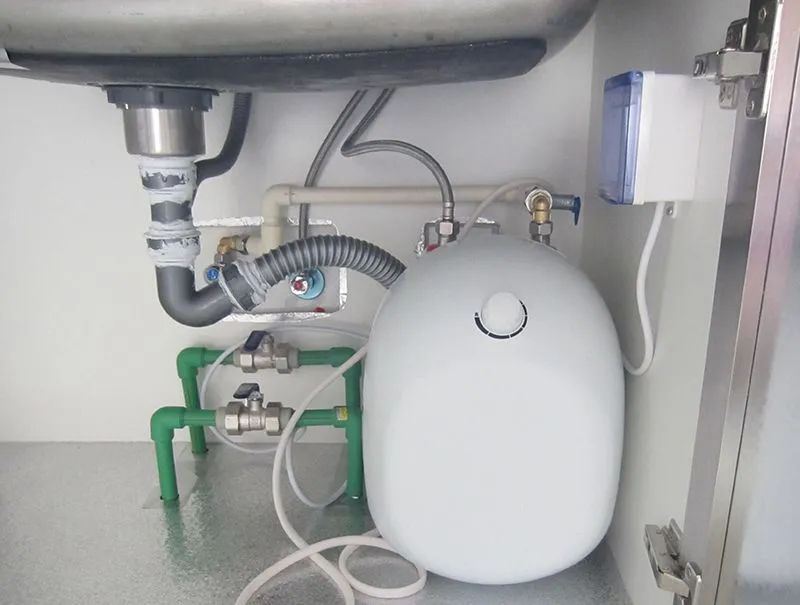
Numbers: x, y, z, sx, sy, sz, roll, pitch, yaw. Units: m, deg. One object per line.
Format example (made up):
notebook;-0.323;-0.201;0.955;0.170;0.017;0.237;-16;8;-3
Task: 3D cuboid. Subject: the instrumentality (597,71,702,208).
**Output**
instrumentality;0.341;-0.225;0.903;0.100;0.169;0.109;-2;13;-2

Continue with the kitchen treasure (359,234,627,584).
kitchen treasure;0.141;0.175;1.023;0.389;0.532;0.213;3;14;17
